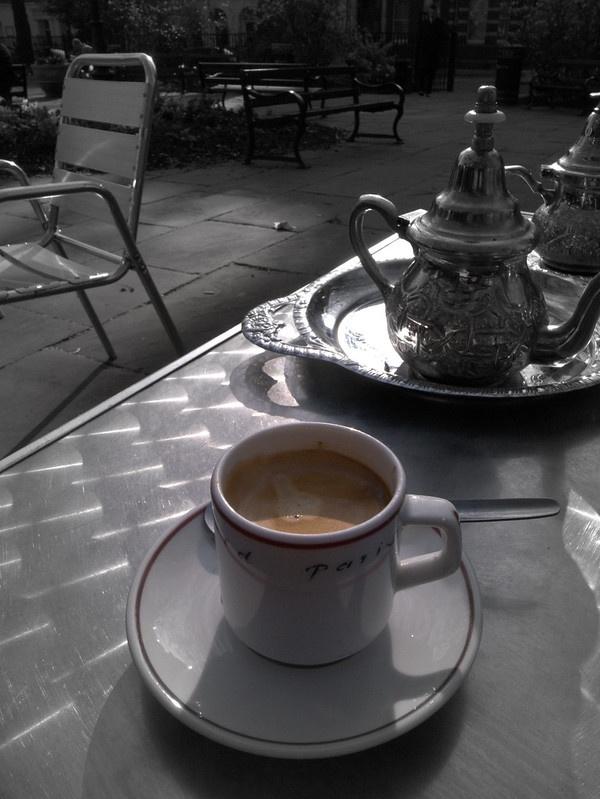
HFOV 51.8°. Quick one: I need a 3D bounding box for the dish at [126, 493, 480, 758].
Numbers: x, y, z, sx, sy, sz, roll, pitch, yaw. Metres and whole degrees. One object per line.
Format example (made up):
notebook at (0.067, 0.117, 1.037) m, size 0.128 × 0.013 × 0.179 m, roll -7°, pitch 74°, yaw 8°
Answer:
dish at (-0.007, 0.170, 0.465) m, size 0.268 × 0.028 × 0.203 m, roll 10°, pitch 31°, yaw 17°
